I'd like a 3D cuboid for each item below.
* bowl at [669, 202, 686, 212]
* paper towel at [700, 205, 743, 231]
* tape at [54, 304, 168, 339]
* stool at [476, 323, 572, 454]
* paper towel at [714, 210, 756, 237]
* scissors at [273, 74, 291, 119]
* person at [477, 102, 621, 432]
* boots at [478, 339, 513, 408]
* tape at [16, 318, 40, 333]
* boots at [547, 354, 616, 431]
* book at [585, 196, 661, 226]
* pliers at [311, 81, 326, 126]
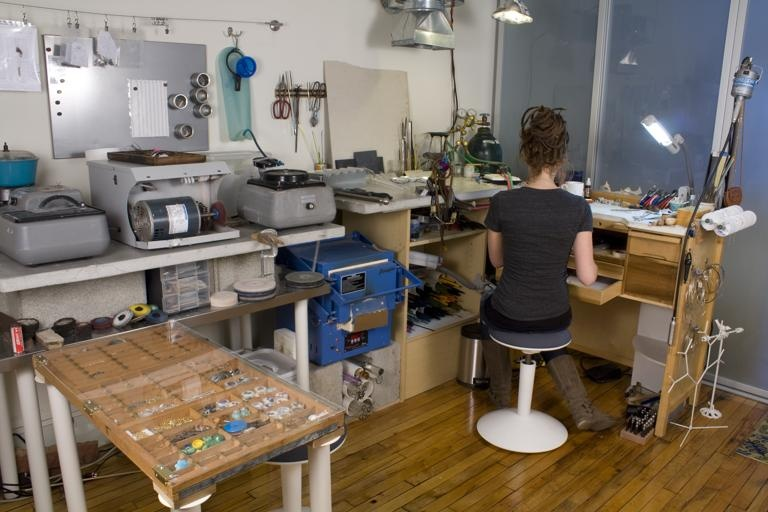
[{"bbox_3d":[2.148,-0.366,3.900,0.125,0.038,0.080,-9,15,-21],"label":"bowl"},{"bbox_3d":[2.210,-0.252,3.482,0.406,0.108,0.142,-13,20,-31],"label":"paper towel"},{"bbox_3d":[-1.410,0.339,2.759,0.376,0.042,0.189,-11,21,-37],"label":"tape"},{"bbox_3d":[0.889,0.794,3.808,0.788,0.720,0.777,8,18,31],"label":"stool"},{"bbox_3d":[2.307,-0.226,3.512,0.366,0.100,0.090,-21,-1,-41],"label":"paper towel"},{"bbox_3d":[-0.749,-1.170,3.924,0.036,0.318,0.177,12,23,41],"label":"scissors"},{"bbox_3d":[1.054,0.154,3.500,0.808,2.185,0.431,-1,18,10],"label":"person"},{"bbox_3d":[0.826,0.867,3.893,0.188,0.497,0.256,19,37,33],"label":"boots"},{"bbox_3d":[-1.714,0.323,2.590,0.074,0.029,0.071,-4,16,-29],"label":"tape"},{"bbox_3d":[1.368,0.959,3.673,0.277,0.520,0.536,-17,-8,6],"label":"boots"},{"bbox_3d":[1.729,-0.375,3.919,0.490,0.174,0.575,-10,16,-33],"label":"book"},{"bbox_3d":[-0.502,-1.173,4.111,0.034,0.336,0.162,13,23,42],"label":"pliers"}]
